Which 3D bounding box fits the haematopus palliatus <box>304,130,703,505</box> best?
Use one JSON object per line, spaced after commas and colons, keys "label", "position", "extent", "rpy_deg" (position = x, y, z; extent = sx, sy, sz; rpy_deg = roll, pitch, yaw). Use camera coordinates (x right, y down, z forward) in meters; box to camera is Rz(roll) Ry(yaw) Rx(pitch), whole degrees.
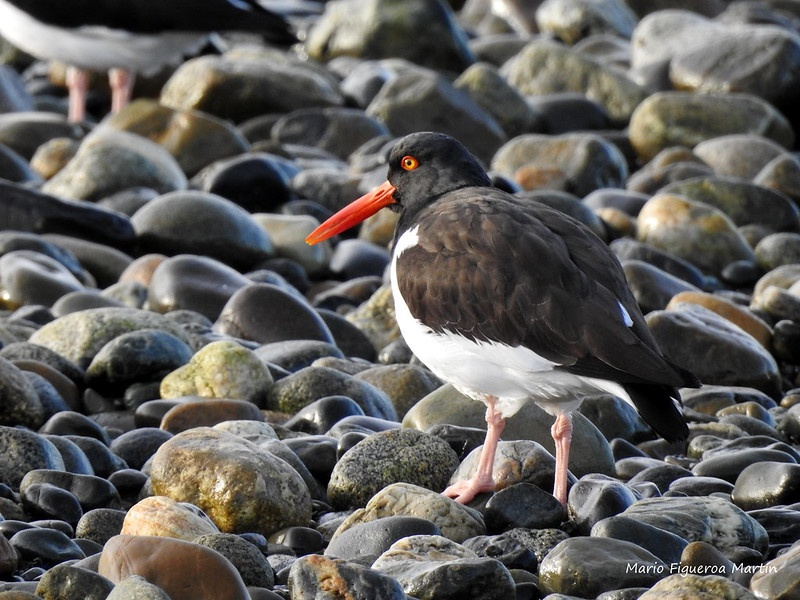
{"label": "haematopus palliatus", "position": [0.707, 0.030, 9.108], "extent": [2.370, 2.070, 1.419], "rpy_deg": [-1, 5, -6]}
